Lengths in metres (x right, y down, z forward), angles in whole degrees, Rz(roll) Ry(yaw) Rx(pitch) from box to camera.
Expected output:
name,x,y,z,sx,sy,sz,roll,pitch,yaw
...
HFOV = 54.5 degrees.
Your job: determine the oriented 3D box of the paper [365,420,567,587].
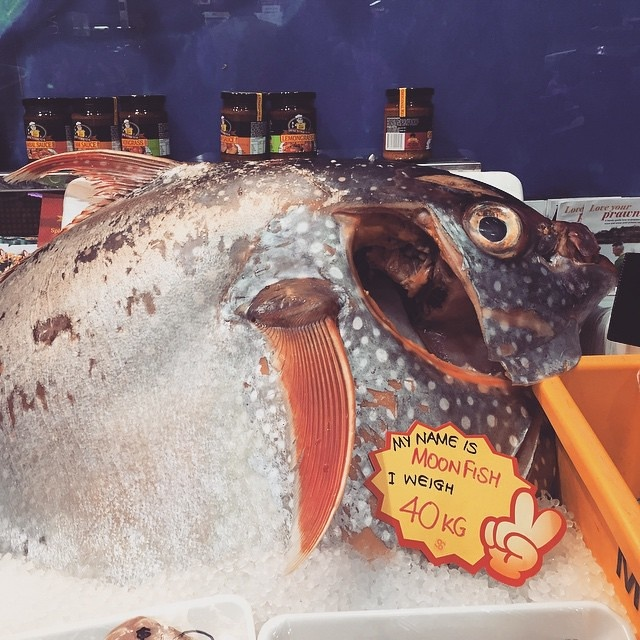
name,x,y,z,sx,sy,sz,roll,pitch,yaw
paper,0.171,0.237,0.781,0.217,0.131,0.003,30,-4,3
